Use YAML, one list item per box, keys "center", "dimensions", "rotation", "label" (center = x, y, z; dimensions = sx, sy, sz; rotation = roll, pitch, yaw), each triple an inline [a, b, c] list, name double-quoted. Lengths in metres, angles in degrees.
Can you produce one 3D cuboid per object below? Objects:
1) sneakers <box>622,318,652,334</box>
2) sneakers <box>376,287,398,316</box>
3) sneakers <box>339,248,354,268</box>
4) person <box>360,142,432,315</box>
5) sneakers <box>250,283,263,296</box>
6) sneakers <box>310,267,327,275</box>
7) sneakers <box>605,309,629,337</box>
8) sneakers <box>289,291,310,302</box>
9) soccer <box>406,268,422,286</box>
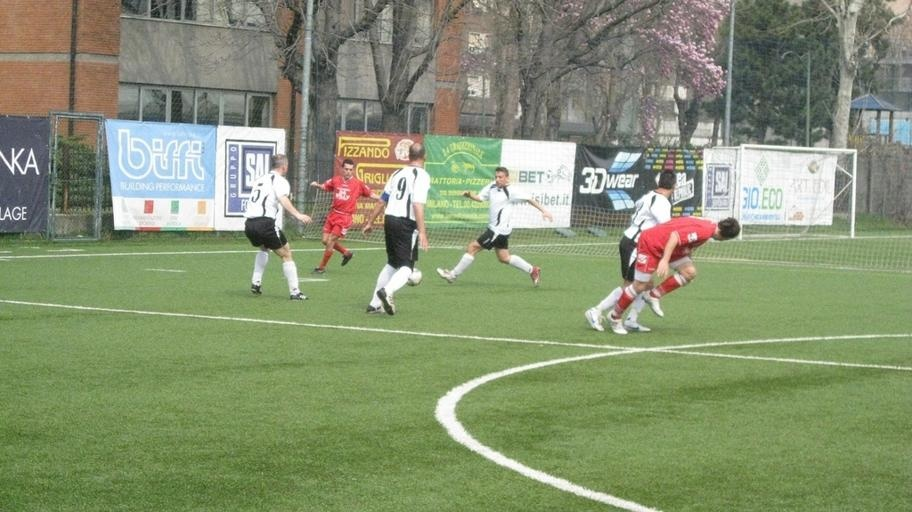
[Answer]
- center: [3.456, 1.369, 20.616]
  dimensions: [0.623, 0.251, 0.205]
  rotation: [0, 3, -6]
  label: "sneakers"
- center: [-1.332, 0.892, 20.875]
  dimensions: [0.282, 0.612, 0.246]
  rotation: [-34, 15, -30]
  label: "sneakers"
- center: [-2.774, 0.063, 27.057]
  dimensions: [0.276, 0.564, 0.193]
  rotation: [9, 28, -2]
  label: "sneakers"
- center: [-1.131, -0.485, 21.120]
  dimensions: [1.140, 3.372, 1.466]
  rotation: [0, 14, -2]
  label: "person"
- center: [-4.247, 0.724, 22.590]
  dimensions: [0.279, 0.263, 0.163]
  rotation: [-1, -20, 11]
  label: "sneakers"
- center: [-3.301, 0.359, 25.853]
  dimensions: [0.350, 0.130, 0.133]
  rotation: [0, 4, 2]
  label: "sneakers"
- center: [3.072, 1.288, 20.397]
  dimensions: [0.230, 0.604, 0.241]
  rotation: [-38, 2, -30]
  label: "sneakers"
- center: [-3.248, 0.858, 22.420]
  dimensions: [0.474, 0.191, 0.166]
  rotation: [-2, 4, 5]
  label: "sneakers"
- center: [-0.826, 0.423, 21.435]
  dimensions: [0.324, 0.306, 0.315]
  rotation: [-6, 0, -41]
  label: "soccer"
